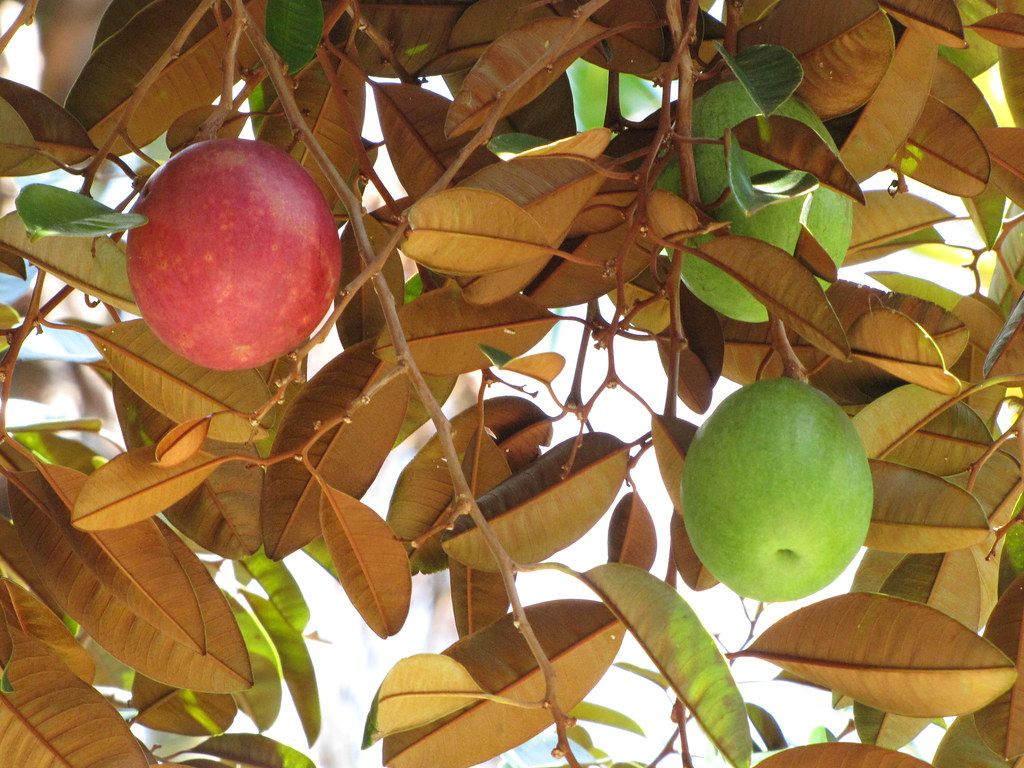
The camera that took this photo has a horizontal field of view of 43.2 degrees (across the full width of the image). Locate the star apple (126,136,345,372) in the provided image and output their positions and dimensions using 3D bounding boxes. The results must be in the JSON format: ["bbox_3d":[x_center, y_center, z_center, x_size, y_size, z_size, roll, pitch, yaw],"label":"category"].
[{"bbox_3d":[-0.283,-0.149,1.490,0.211,0.295,0.223,0,6,3],"label":"star apple"}]

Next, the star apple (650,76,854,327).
[{"bbox_3d":[0.268,-0.181,1.653,0.231,0.359,0.269,6,-9,-20],"label":"star apple"}]
